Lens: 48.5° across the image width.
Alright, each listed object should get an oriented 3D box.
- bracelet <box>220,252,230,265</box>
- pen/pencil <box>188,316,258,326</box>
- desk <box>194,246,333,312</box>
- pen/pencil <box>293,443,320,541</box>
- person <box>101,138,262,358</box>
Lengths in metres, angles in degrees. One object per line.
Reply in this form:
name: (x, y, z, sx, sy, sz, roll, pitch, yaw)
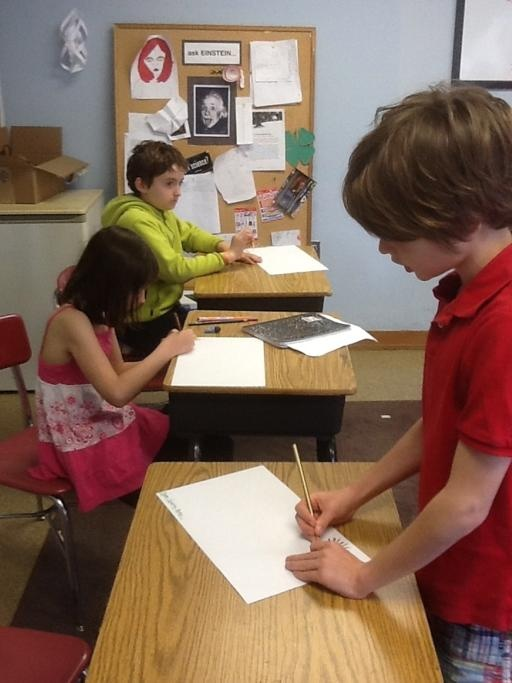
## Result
bracelet: (-0.125, -0.350, 2.388, 0.047, 0.045, 0.045, -3, 26, 0)
pen/pencil: (-0.100, -0.062, 1.734, 0.153, 0.024, 0.025, -2, 5, -3)
desk: (-0.023, -0.246, 2.388, 0.645, 0.316, 0.625, 2, 9, 4)
pen/pencil: (0.074, 0.211, 0.855, 0.014, 0.014, 0.169, -9, 63, -13)
person: (-0.368, -0.297, 2.640, 0.726, 1.123, 0.509, 5, 23, -3)
